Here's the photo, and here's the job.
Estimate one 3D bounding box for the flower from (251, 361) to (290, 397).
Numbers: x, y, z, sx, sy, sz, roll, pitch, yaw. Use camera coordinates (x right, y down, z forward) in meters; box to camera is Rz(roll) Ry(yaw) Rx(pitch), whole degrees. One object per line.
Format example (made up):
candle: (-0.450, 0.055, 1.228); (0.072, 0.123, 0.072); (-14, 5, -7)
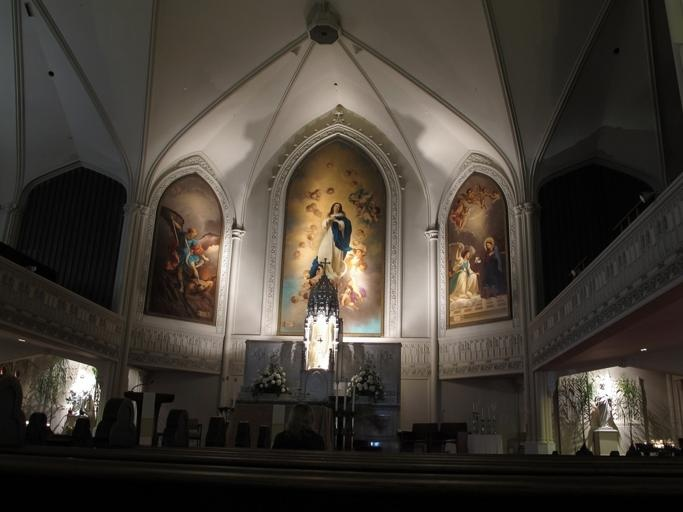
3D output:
flower: (-2.066, 3.491, 14.438); (0.917, 1.173, 0.673); (6, -19, 1)
